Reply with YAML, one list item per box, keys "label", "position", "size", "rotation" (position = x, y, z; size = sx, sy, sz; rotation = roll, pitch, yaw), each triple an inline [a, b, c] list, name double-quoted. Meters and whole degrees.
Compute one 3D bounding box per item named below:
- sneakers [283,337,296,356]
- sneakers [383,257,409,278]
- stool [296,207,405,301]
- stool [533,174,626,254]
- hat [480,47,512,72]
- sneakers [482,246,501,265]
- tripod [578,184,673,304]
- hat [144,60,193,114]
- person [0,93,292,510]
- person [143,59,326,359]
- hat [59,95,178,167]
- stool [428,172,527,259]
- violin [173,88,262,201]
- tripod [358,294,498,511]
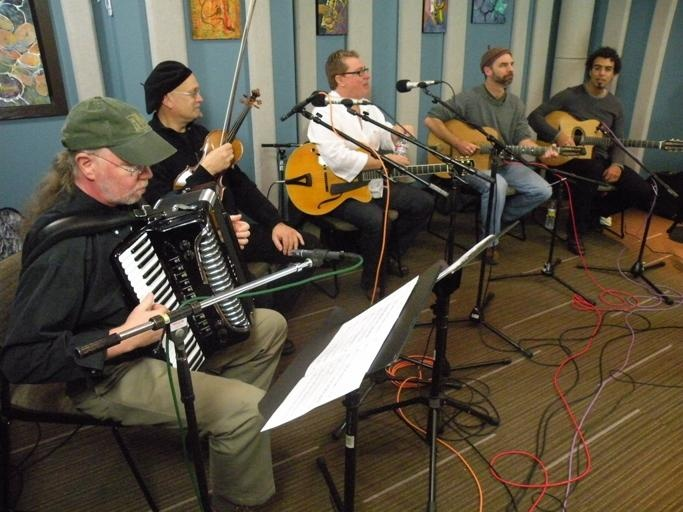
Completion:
- label: "sneakers"
  position: [-0.328, 0.560, 3.502]
  size: [0.049, 0.054, 0.131]
  rotation: [-18, 24, -8]
- label: "sneakers"
  position: [0.457, 0.069, 4.327]
  size: [0.288, 0.106, 0.103]
  rotation: [13, 31, 31]
- label: "stool"
  position: [-0.026, -0.002, 4.186]
  size: [0.471, 0.844, 0.231]
  rotation: [-10, -4, -43]
- label: "stool"
  position: [2.037, -0.353, 4.776]
  size: [0.579, 0.766, 0.637]
  rotation: [9, 15, 43]
- label: "hat"
  position: [1.236, -1.612, 4.567]
  size: [0.221, 0.116, 0.204]
  rotation: [-7, 27, 46]
- label: "sneakers"
  position: [1.119, -0.003, 4.203]
  size: [0.090, 0.076, 0.189]
  rotation: [2, 24, 7]
- label: "tripod"
  position: [2.301, -0.095, 4.607]
  size: [0.844, 0.744, 0.640]
  rotation: [-4, 23, -27]
- label: "hat"
  position: [-1.075, -1.020, 3.408]
  size: [0.321, 0.268, 0.249]
  rotation: [-14, 32, -15]
- label: "person"
  position: [-0.881, 0.268, 2.424]
  size: [1.121, 1.792, 0.695]
  rotation: [-6, 24, -7]
- label: "person"
  position: [-0.883, -0.189, 3.748]
  size: [0.279, 2.017, 0.967]
  rotation: [-15, 14, 44]
- label: "hat"
  position: [-0.939, -0.568, 2.426]
  size: [0.569, 0.231, 0.350]
  rotation: [11, 31, 23]
- label: "stool"
  position: [1.062, -0.319, 4.338]
  size: [0.445, 0.633, 0.445]
  rotation: [23, 38, 24]
- label: "violin"
  position: [-0.715, -0.669, 3.571]
  size: [0.362, 0.967, 0.135]
  rotation: [-27, 75, -47]
- label: "tripod"
  position: [0.388, 0.566, 2.740]
  size: [0.553, 0.973, 0.764]
  rotation: [14, 29, 35]
